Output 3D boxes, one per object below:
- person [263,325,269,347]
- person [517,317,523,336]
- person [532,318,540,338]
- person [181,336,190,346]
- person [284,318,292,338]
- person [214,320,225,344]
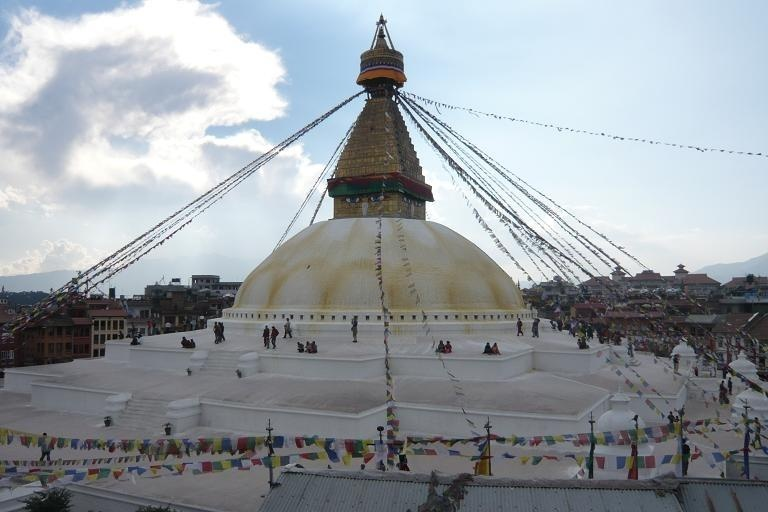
[{"bbox_3d":[-4.772,3.230,26.473,0.216,0.928,0.583,0,-16,-9],"label":"person"},{"bbox_3d":[6.133,3.156,29.544,0.311,0.887,1.130,-6,-16,11],"label":"person"},{"bbox_3d":[6.835,3.212,29.480,0.264,0.867,0.644,-5,-16,7],"label":"person"},{"bbox_3d":[-8.180,3.499,26.928,0.317,0.474,0.810,3,-17,-19],"label":"person"},{"bbox_3d":[-4.154,3.037,28.315,0.356,0.977,1.028,0,-16,-9],"label":"person"},{"bbox_3d":[-7.016,3.217,27.815,0.405,0.961,0.679,2,-17,-14],"label":"person"}]
